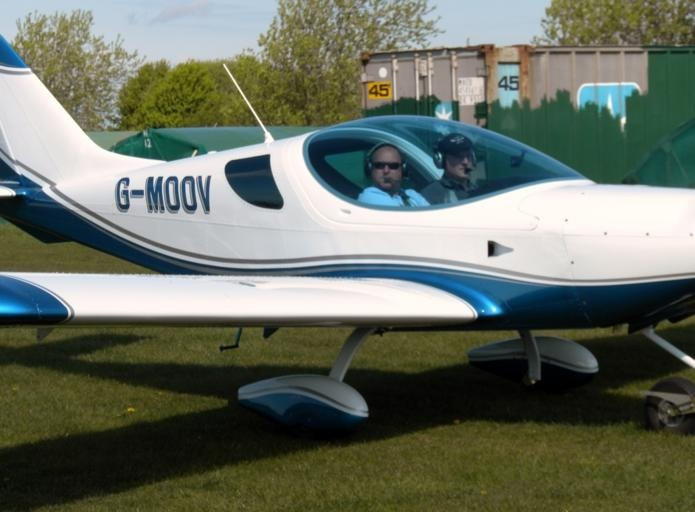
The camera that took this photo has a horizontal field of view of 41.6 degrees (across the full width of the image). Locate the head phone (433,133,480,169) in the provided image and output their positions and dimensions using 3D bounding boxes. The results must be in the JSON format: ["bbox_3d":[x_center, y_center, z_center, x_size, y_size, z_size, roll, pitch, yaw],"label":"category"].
[{"bbox_3d":[0.852,-0.843,7.293,0.359,0.232,0.303,-12,22,-25],"label":"head phone"}]

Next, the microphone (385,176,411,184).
[{"bbox_3d":[0.385,-0.609,7.321,0.100,0.036,0.119,-3,3,-28],"label":"microphone"}]

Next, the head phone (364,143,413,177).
[{"bbox_3d":[0.343,-0.760,7.332,0.397,0.232,0.124,0,2,6],"label":"head phone"}]
